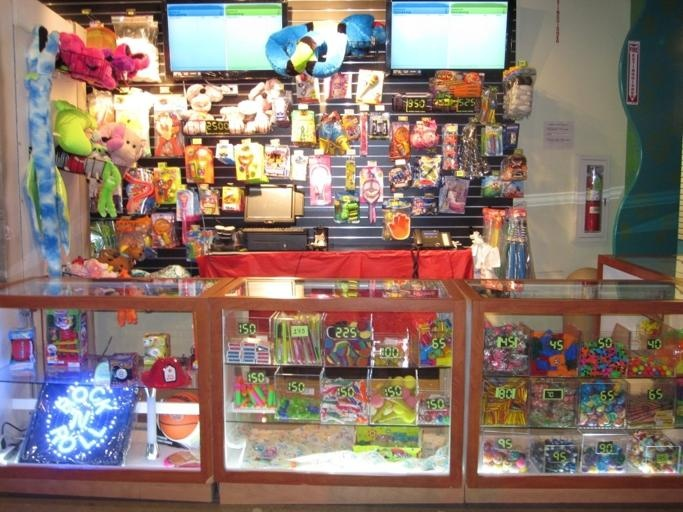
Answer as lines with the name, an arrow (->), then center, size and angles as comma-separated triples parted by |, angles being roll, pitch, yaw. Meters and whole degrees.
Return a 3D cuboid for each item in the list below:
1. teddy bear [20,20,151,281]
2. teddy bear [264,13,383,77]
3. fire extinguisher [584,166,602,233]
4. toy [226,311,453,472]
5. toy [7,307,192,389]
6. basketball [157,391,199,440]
teddy bear -> -2.257, -0.925, 5.876 | 0.411, 2.009, 1.092 | 1, 9, 16
teddy bear -> -0.158, -1.967, 6.223 | 0.842, 0.256, 0.618 | -31, 58, -29
fire extinguisher -> 2.538, -0.584, 6.815 | 0.191, 0.678, 0.046 | -3, 8, -12
toy -> 0.023, 0.894, 4.674 | 0.994, 0.777, 0.356 | 0, 6, 1
toy -> -1.696, 0.674, 5.477 | 1.359, 0.532, 1.249 | 2, 1, 9
basketball -> -1.202, 1.183, 4.950 | 0.344, 0.386, 0.453 | 3, -21, -7
